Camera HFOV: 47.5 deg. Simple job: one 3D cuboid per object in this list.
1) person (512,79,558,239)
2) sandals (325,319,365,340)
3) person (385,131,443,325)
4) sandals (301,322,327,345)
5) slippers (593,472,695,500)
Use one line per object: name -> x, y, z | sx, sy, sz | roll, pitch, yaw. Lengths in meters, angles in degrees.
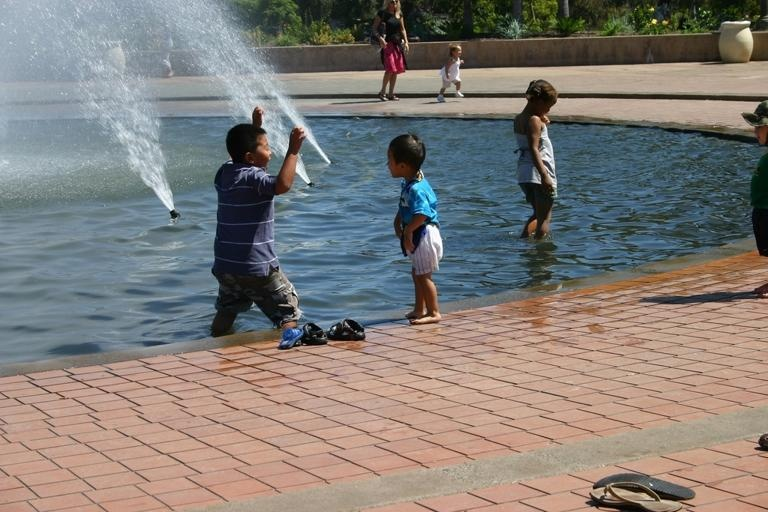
person -> 1.699, -0.971, 9.676 | 0.445, 1.617, 0.616 | -3, 16, 8
sandals -> -0.327, 0.624, 7.251 | 0.203, 0.081, 0.338 | -4, 5, -42
person -> 0.286, -0.231, 7.531 | 0.386, 1.648, 0.527 | -5, 16, 1
sandals -> -0.576, 0.654, 7.162 | 0.201, 0.103, 0.240 | 3, 2, -3
slippers -> 1.550, 1.343, 5.094 | 0.468, 0.038, 0.194 | 3, 11, 33
